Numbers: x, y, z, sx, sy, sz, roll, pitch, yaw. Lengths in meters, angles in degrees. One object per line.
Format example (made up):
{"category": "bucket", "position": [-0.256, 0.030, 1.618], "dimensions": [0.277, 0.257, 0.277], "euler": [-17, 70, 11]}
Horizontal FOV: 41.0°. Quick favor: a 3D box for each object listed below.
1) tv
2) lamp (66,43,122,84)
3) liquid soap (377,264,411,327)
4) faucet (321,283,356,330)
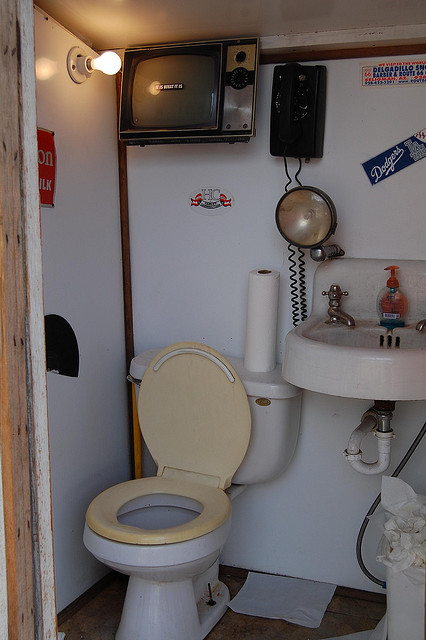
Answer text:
{"category": "tv", "position": [-0.065, -0.661, 1.707], "dimensions": [0.467, 0.338, 0.285], "euler": [0, -3, 17]}
{"category": "lamp", "position": [-0.338, -0.726, 1.632], "dimensions": [0.125, 0.118, 0.119], "euler": [-2, 11, -1]}
{"category": "liquid soap", "position": [0.506, -0.067, 1.604], "dimensions": [0.083, 0.164, 0.150], "euler": [4, 12, 17]}
{"category": "faucet", "position": [0.345, -0.029, 1.649], "dimensions": [0.083, 0.116, 0.119], "euler": [-1, 4, -11]}
